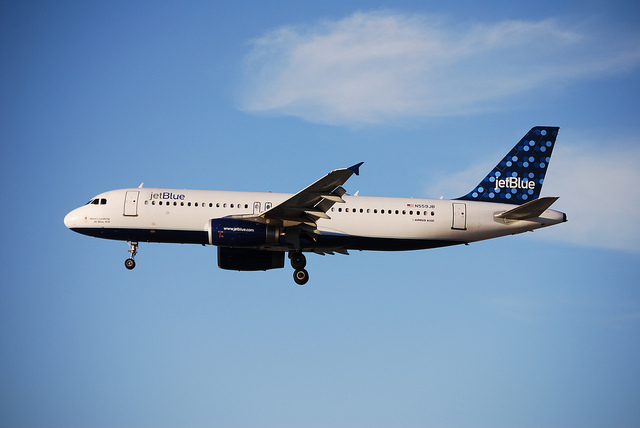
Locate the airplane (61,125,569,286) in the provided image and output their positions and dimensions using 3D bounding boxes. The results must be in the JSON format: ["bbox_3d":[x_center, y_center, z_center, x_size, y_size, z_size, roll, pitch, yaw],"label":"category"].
[{"bbox_3d":[-0.337,-0.545,48.677,25.517,6.778,21.712,1,-4,5],"label":"airplane"}]
